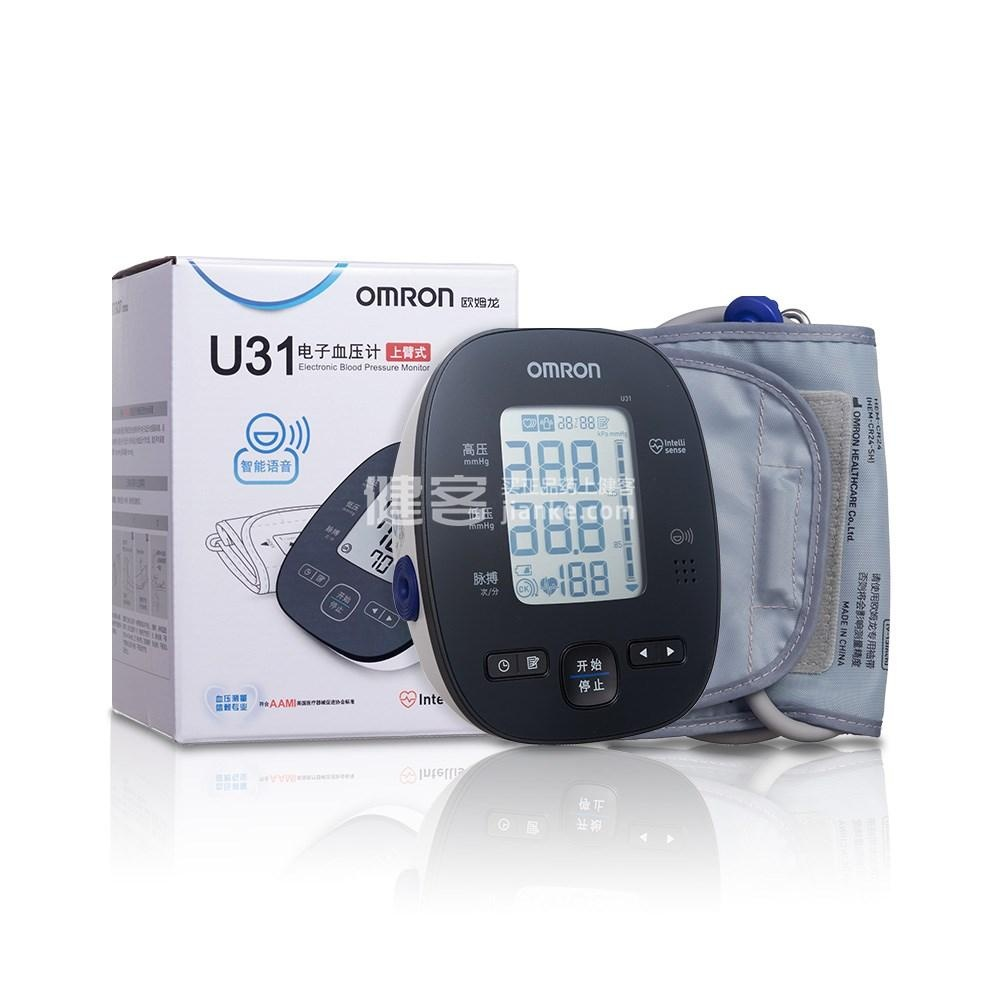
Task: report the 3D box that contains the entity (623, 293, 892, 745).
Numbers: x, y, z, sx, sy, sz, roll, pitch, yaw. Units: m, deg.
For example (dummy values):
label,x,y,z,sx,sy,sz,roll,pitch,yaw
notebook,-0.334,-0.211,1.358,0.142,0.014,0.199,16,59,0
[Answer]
label,x,y,z,sx,sy,sz,roll,pitch,yaw
entity,0.398,0.022,1.693,0.613,0.197,0.617,-1,93,-10
